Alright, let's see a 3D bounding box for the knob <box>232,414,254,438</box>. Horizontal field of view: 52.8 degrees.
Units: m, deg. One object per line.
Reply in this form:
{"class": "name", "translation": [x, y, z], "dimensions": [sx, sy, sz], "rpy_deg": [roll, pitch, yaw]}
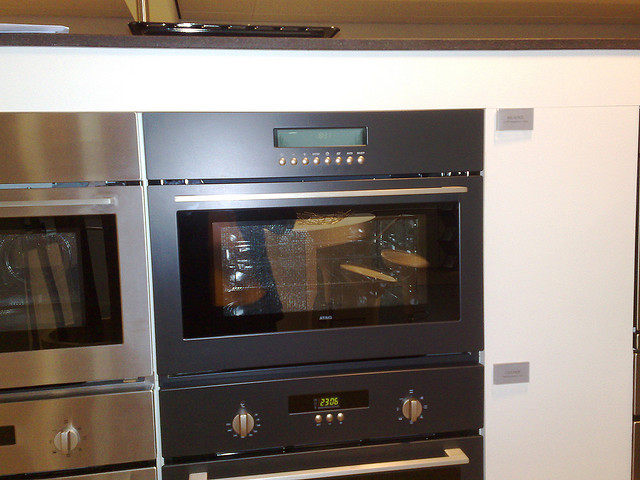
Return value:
{"class": "knob", "translation": [-0.220, 0.523, 1.824], "dimensions": [0.074, 0.083, 0.044], "rpy_deg": [0, 2, -10]}

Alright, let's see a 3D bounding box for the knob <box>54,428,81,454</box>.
{"class": "knob", "translation": [-0.700, 0.555, 1.780], "dimensions": [0.063, 0.061, 0.019], "rpy_deg": [-3, 5, 3]}

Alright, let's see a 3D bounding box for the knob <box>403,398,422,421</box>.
{"class": "knob", "translation": [0.265, 0.487, 1.860], "dimensions": [0.072, 0.077, 0.026], "rpy_deg": [-1, 2, -10]}
